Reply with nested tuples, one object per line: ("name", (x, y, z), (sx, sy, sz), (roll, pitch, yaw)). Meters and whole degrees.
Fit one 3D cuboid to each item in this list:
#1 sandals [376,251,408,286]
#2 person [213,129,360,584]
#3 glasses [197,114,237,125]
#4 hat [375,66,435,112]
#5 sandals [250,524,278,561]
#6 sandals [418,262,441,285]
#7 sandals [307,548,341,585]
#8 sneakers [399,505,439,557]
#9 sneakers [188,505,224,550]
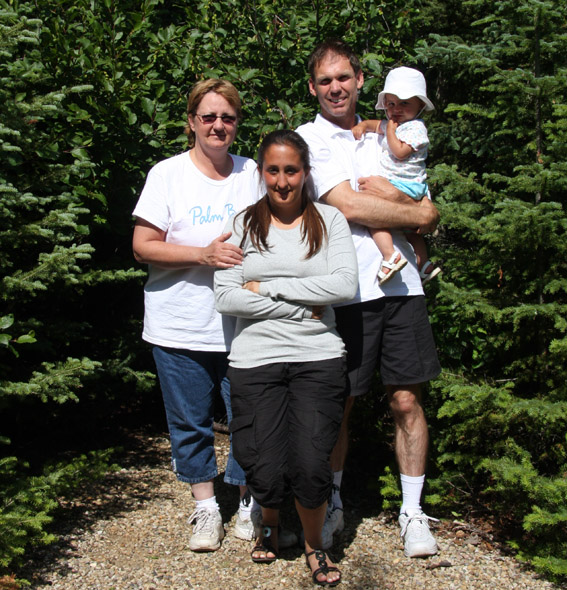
("sandals", (0.559, -0.142, 3.511), (0.097, 0.110, 0.222), (-48, 0, -41))
("person", (0.009, 0.301, 3.245), (0.704, 2.214, 0.681), (0, 13, -5))
("glasses", (-0.354, -0.925, 3.441), (0.198, 0.054, 0.050), (0, 12, -7))
("hat", (0.685, -1.187, 3.784), (0.284, 0.166, 0.324), (2, -11, 13))
("sandals", (-0.099, 1.304, 3.404), (0.106, 0.093, 0.256), (0, -10, 4))
("sandals", (0.859, -0.132, 3.813), (0.068, 0.086, 0.202), (-45, -3, 23))
("sandals", (0.194, 1.335, 3.262), (0.119, 0.078, 0.229), (-7, 7, -16))
("sneakers", (0.741, 1.297, 3.543), (0.154, 0.097, 0.276), (-4, 2, -2))
("sneakers", (-0.432, 1.284, 3.583), (0.134, 0.114, 0.291), (0, -2, -2))
